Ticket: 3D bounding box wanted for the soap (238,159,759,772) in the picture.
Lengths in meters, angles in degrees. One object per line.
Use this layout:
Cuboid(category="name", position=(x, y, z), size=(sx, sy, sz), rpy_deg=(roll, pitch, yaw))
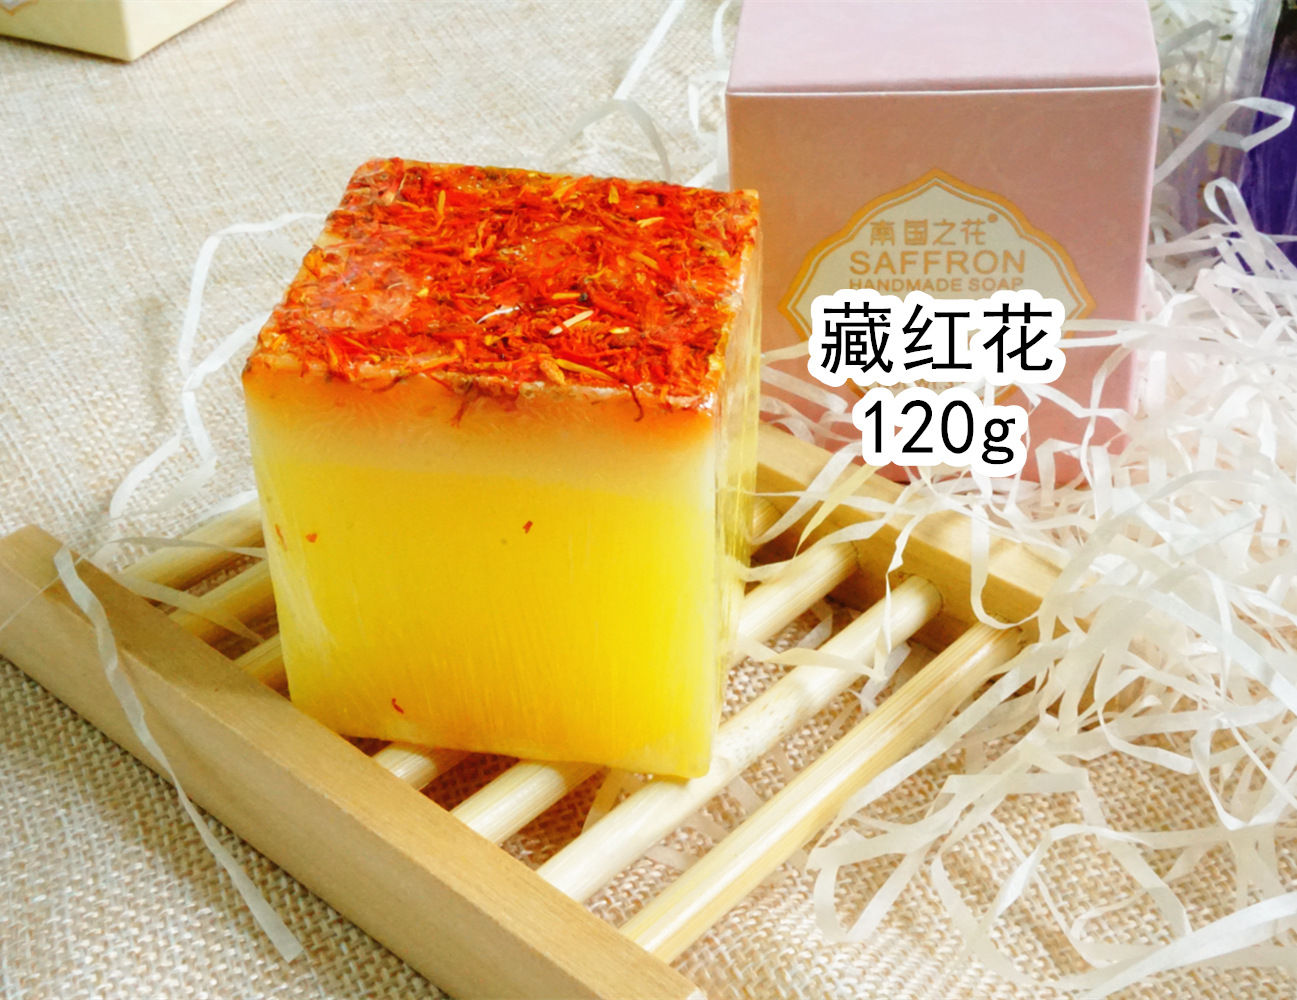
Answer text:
Cuboid(category="soap", position=(-0.066, -0.020, 0.617), size=(0.228, 0.311, 0.200), rpy_deg=(4, 27, 4))
